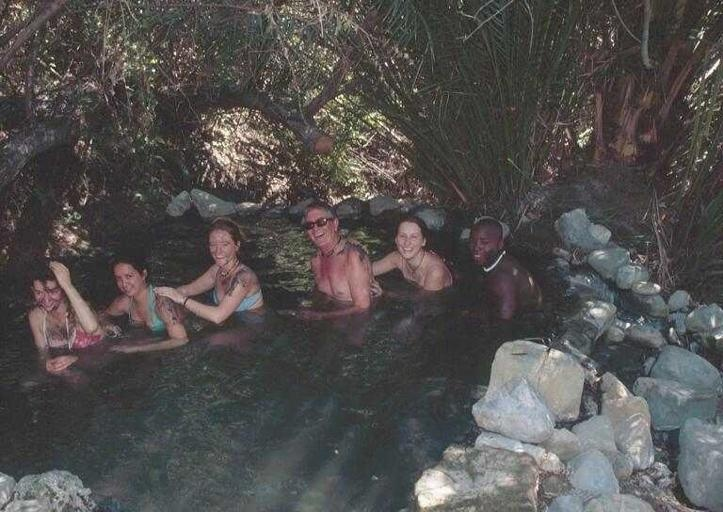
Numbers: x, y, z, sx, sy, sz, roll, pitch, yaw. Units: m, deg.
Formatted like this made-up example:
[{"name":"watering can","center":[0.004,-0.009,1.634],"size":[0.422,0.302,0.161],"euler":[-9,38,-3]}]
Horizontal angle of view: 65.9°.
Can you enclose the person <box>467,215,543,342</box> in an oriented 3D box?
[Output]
[{"name":"person","center":[1.629,0.117,6.158],"size":[0.727,0.940,1.059],"euler":[-2,17,1]}]

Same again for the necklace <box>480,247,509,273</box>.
[{"name":"necklace","center":[1.526,0.071,6.474],"size":[0.097,0.270,0.223],"euler":[38,60,11]}]

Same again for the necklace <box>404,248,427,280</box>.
[{"name":"necklace","center":[0.658,0.131,6.712],"size":[0.221,0.320,0.311],"euler":[14,43,23]}]

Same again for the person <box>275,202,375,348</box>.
[{"name":"person","center":[-0.298,0.100,6.067],"size":[0.844,1.234,1.042],"euler":[2,17,13]}]

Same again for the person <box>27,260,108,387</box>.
[{"name":"person","center":[-2.914,0.553,5.337],"size":[0.697,0.960,0.509],"euler":[-2,16,-1]}]

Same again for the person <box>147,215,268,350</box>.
[{"name":"person","center":[-1.629,0.269,6.088],"size":[1.044,1.326,1.093],"euler":[17,23,37]}]

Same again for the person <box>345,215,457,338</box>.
[{"name":"person","center":[0.506,0.094,6.659],"size":[1.218,1.044,1.006],"euler":[-7,26,-9]}]
